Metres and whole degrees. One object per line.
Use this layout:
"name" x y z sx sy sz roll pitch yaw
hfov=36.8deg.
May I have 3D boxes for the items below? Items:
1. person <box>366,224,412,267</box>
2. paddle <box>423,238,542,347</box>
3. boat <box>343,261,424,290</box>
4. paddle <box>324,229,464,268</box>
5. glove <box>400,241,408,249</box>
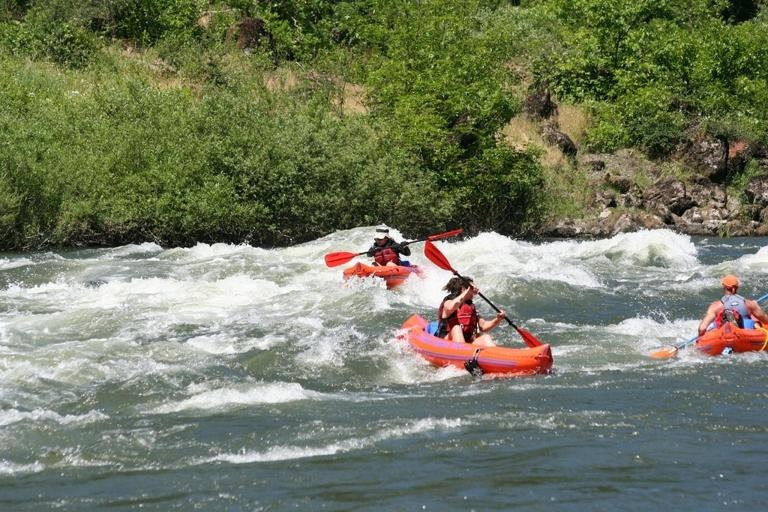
"person" 0.063 -0.276 36.119 1.226 1.817 0.694 -13 -16 13
"paddle" 2.774 1.146 32.586 4.484 0.629 0.353 42 30 23
"boat" -0.051 0.528 34.263 1.613 0.534 0.925 -1 1 -30
"paddle" 0.146 -0.213 36.394 5.093 0.389 0.686 -9 38 -1
"glove" 0.586 -0.333 34.936 0.246 0.068 0.239 2 -23 -6
